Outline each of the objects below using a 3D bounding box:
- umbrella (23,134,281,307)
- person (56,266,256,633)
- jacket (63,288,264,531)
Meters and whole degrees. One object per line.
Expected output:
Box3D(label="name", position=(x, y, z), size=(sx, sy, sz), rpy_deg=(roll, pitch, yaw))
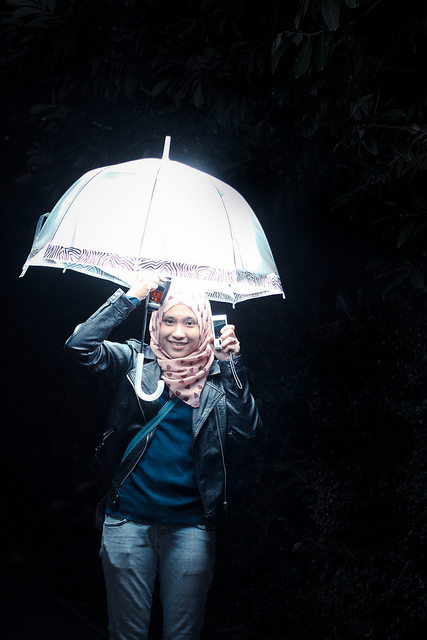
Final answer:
Box3D(label="umbrella", position=(-0.168, -0.350, 1.785), size=(0.806, 0.475, 0.793), rpy_deg=(4, 5, -25))
Box3D(label="person", position=(-0.195, 0.481, 2.060), size=(0.628, 1.340, 0.439), rpy_deg=(11, 12, 17))
Box3D(label="jacket", position=(-0.227, 0.310, 2.131), size=(0.656, 1.003, 0.655), rpy_deg=(-1, 20, -29))
